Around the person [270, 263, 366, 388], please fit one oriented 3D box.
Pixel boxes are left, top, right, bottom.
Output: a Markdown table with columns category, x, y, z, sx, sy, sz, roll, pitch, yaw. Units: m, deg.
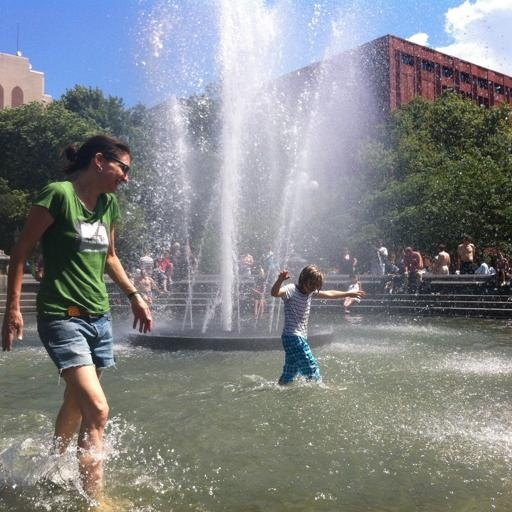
| category | x | y | z | sx | sy | sz | roll | pitch | yaw |
| --- | --- | --- | --- | --- | --- | --- | --- | --- | --- |
| person | 0.446 | 0.679 | 5.345 | 0.534 | 1.184 | 1.023 | -2 | -4 | 42 |

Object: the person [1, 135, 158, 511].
| category | x | y | z | sx | sy | sz | roll | pitch | yaw |
| --- | --- | --- | --- | --- | --- | --- | --- | --- | --- |
| person | -0.964 | 0.278 | 3.058 | 0.523 | 1.982 | 0.807 | 0 | -3 | 25 |
